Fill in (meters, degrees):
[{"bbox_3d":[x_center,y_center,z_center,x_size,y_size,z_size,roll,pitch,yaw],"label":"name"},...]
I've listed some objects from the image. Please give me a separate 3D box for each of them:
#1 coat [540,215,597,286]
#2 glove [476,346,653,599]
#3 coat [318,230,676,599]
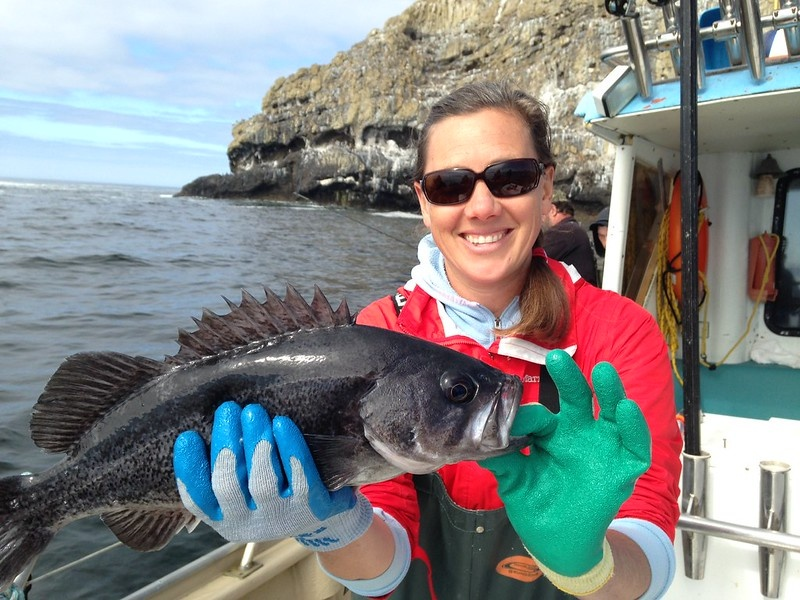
[{"bbox_3d":[1.734,-0.419,6.285,0.372,0.614,0.637,19,11,-11],"label":"coat"},{"bbox_3d":[0.588,0.622,2.320,0.613,0.924,0.578,-13,41,9],"label":"glove"},{"bbox_3d":[0.583,0.438,2.892,1.110,1.529,0.457,-2,-12,-4],"label":"coat"}]
